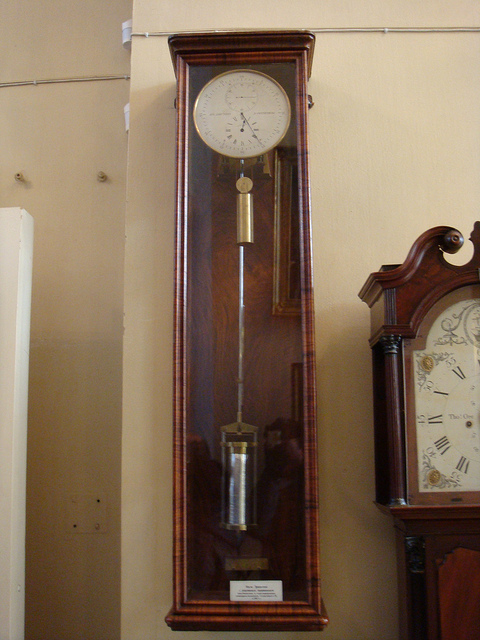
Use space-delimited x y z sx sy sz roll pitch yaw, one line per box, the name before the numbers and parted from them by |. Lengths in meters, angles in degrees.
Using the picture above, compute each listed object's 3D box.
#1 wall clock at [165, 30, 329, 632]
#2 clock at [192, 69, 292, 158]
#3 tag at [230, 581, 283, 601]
wall clock | 0.037 0.053 2.689 0.349 1.667 0.336 -1 -4 1
clock | 0.014 -0.526 2.694 0.247 0.232 0.016 1 -4 0
tag | 0.043 0.653 2.523 0.101 0.048 0.021 1 -15 1
